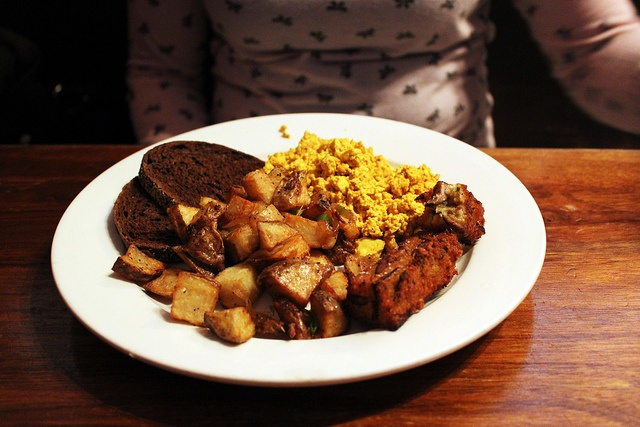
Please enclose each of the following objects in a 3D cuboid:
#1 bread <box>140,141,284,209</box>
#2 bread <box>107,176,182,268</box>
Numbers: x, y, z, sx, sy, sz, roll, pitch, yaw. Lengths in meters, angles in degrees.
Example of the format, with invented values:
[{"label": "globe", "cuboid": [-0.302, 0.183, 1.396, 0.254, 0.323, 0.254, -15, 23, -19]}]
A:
[{"label": "bread", "cuboid": [-0.495, -0.158, 2.217, 0.435, 0.082, 0.274, 8, 42, -20]}, {"label": "bread", "cuboid": [-0.677, 0.030, 2.043, 0.250, 0.072, 0.308, 2, 50, -44]}]
